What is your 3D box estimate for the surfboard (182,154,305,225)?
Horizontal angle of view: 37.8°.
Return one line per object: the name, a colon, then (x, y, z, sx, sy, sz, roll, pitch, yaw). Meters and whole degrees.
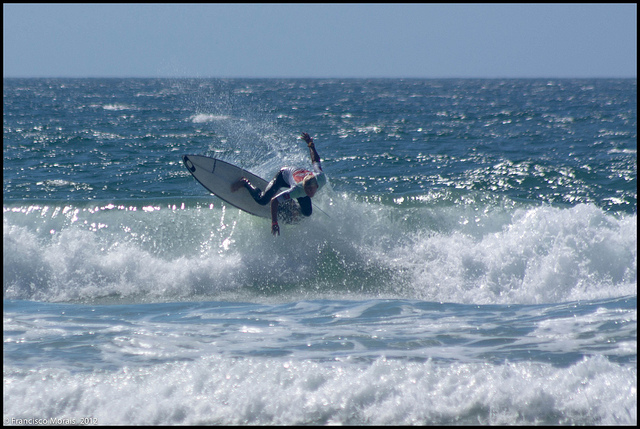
surfboard: (-2.146, -0.644, 26.455, 4.707, 0.913, 0.552, 22, 5, 10)
